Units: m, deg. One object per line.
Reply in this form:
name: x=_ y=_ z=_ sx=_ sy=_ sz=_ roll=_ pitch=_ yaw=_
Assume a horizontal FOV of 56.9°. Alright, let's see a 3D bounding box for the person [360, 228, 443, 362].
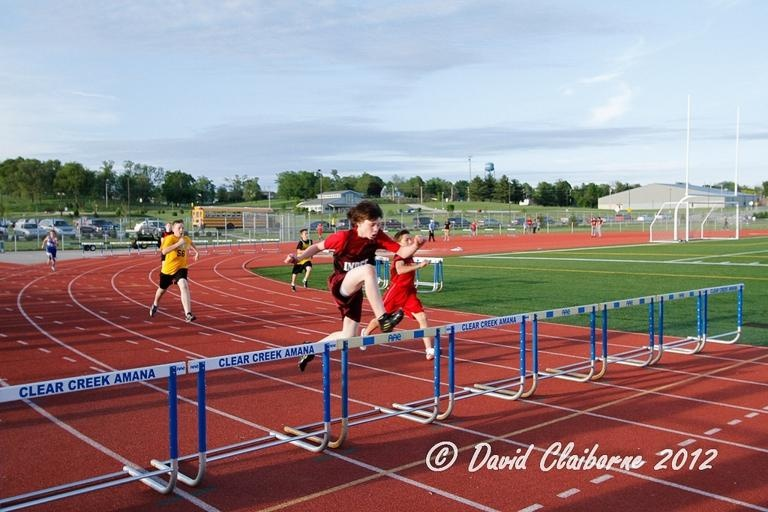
person: x=0.391 y=0.571 z=11.474 sx=1.217 sy=2.133 sz=1.019 roll=0 pitch=0 yaw=30
